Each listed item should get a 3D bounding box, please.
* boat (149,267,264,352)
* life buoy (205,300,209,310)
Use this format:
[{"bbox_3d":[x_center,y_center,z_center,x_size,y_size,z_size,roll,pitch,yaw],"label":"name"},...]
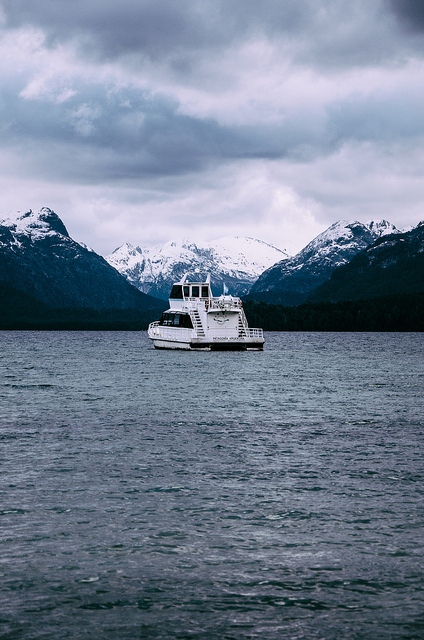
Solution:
[{"bbox_3d":[-2.292,-0.415,133.550,10.223,10.539,26.733,-2,3,-22],"label":"boat"},{"bbox_3d":[-0.564,-2.126,122.040,0.211,0.816,0.888,-1,-1,25],"label":"life buoy"}]
